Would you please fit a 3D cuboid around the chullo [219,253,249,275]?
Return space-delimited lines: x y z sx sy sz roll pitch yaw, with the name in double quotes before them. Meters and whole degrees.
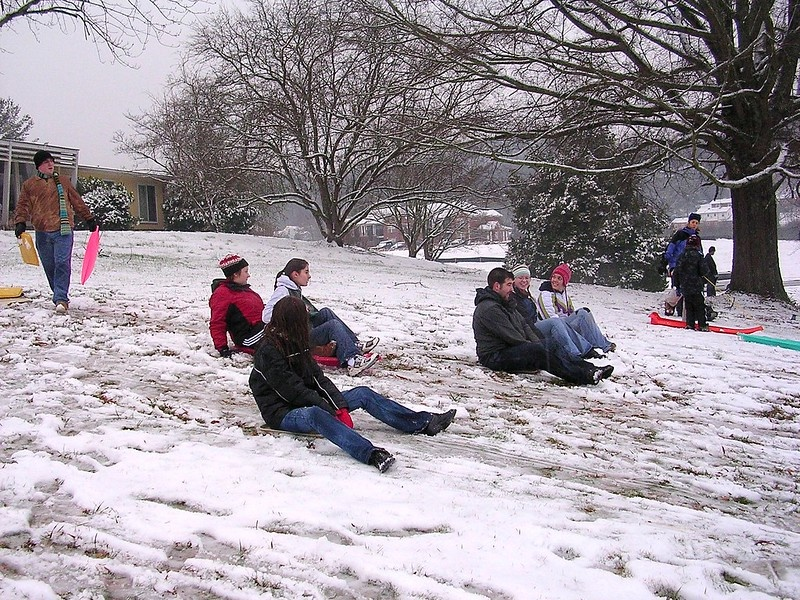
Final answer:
"chullo" -2.140 -0.461 8.540 0.355 0.314 0.301 -4 5 -31

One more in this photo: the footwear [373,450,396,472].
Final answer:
"footwear" -0.139 1.327 5.417 0.104 0.114 0.231 25 -8 -5

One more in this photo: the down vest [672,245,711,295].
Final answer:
"down vest" 5.478 -0.531 12.343 0.462 0.924 0.560 -4 13 -39

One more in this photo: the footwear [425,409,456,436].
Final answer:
"footwear" 0.389 1.208 6.384 0.336 0.182 0.094 -29 31 -23

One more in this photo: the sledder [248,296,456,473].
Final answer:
"sledder" -0.522 0.687 6.086 1.699 1.378 1.403 1 4 25

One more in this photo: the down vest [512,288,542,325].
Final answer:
"down vest" 1.817 0.118 9.411 0.214 0.405 0.389 -24 -1 29

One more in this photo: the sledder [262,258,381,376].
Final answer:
"sledder" -0.937 0.197 8.167 1.406 1.487 0.679 3 1 13

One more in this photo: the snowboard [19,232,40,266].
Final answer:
"snowboard" -6.292 -0.844 11.154 0.073 0.727 0.707 -13 -2 -44
